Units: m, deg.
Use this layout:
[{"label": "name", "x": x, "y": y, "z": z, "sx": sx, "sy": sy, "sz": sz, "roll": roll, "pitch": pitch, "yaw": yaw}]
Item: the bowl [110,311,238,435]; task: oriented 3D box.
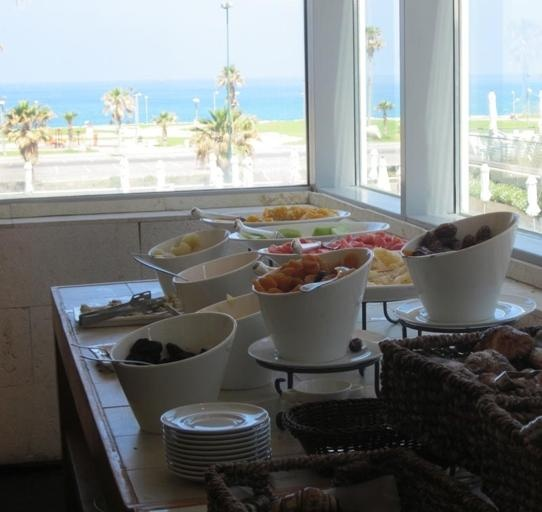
[{"label": "bowl", "x": -0.117, "y": 0.147, "z": 0.727, "sx": 0.148, "sy": 0.104, "sz": 0.159, "roll": -2, "pitch": 10, "yaw": 0}]

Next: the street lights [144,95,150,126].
[{"label": "street lights", "x": -0.836, "y": -0.980, "z": 3.545, "sx": 0.038, "sy": 0.191, "sz": 0.158, "roll": -7, "pitch": 10, "yaw": -12}]

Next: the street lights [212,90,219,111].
[{"label": "street lights", "x": -0.393, "y": -1.095, "z": 3.729, "sx": 0.040, "sy": 0.133, "sz": 0.064, "roll": -9, "pitch": 11, "yaw": -23}]

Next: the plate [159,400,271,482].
[{"label": "plate", "x": -0.056, "y": 0.174, "z": 0.556, "sx": 0.095, "sy": 0.043, "sz": 0.100, "roll": 0, "pitch": 0, "yaw": 1}]

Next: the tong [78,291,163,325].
[{"label": "tong", "x": -0.346, "y": 0.103, "z": 1.221, "sx": 0.165, "sy": 0.040, "sz": 0.091, "roll": -6, "pitch": 19, "yaw": -8}]
